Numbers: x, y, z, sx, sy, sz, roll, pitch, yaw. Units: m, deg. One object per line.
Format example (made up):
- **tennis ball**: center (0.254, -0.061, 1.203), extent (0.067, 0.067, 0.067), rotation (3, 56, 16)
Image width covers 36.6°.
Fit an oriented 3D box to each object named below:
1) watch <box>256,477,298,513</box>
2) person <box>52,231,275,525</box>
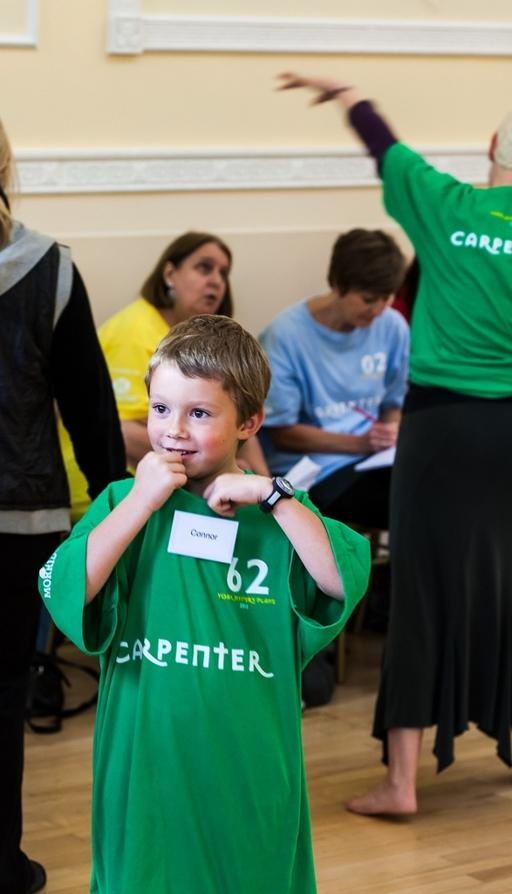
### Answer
- **watch**: center (0.025, 0.053, 0.885), extent (0.030, 0.044, 0.045), rotation (52, 11, 25)
- **person**: center (-0.173, -0.174, 2.161), extent (0.641, 0.823, 0.574), rotation (-2, -7, 23)
